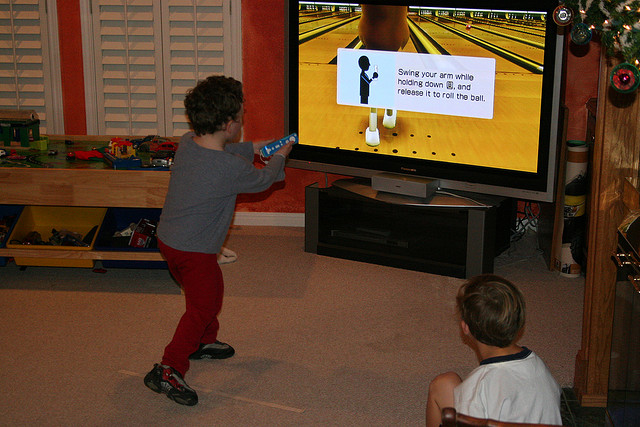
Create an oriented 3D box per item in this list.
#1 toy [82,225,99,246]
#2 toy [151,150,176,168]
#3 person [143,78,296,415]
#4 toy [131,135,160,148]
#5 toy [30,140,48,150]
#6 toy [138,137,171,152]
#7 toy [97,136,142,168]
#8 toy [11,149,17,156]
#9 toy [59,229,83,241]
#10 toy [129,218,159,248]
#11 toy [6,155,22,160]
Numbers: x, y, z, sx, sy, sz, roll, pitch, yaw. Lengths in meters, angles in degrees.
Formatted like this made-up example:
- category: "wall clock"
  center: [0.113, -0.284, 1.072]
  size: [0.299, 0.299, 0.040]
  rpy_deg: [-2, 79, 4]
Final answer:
- category: "toy"
  center: [-1.903, 0.187, 4.279]
  size: [0.057, 0.053, 0.204]
  rpy_deg: [29, 34, -6]
- category: "toy"
  center: [-1.190, -0.412, 3.927]
  size: [0.233, 0.107, 0.266]
  rpy_deg: [-1, 14, -2]
- category: "person"
  center: [-0.625, 0.175, 2.897]
  size: [0.433, 1.820, 0.710]
  rpy_deg: [11, 16, 40]
- category: "toy"
  center: [-1.510, -0.604, 4.455]
  size: [0.118, 0.052, 0.194]
  rpy_deg: [4, 23, 43]
- category: "toy"
  center: [-2.405, -0.588, 4.429]
  size: [0.126, 0.077, 0.091]
  rpy_deg: [5, 11, 16]
- category: "toy"
  center: [-1.399, -0.593, 4.403]
  size: [0.224, 0.067, 0.124]
  rpy_deg: [-15, 25, -32]
- category: "toy"
  center: [-1.551, -0.498, 4.030]
  size: [0.231, 0.132, 0.381]
  rpy_deg: [-7, 23, -28]
- category: "toy"
  center: [-2.541, -0.511, 4.288]
  size: [0.049, 0.021, 0.137]
  rpy_deg: [-4, 24, -18]
- category: "toy"
  center: [-2.028, 0.180, 4.212]
  size: [0.168, 0.071, 0.245]
  rpy_deg: [-4, 12, -24]
- category: "toy"
  center: [-1.429, 0.160, 4.177]
  size: [0.204, 0.197, 0.312]
  rpy_deg: [1, 11, 3]
- category: "toy"
  center: [-2.448, -0.450, 4.145]
  size: [0.113, 0.028, 0.109]
  rpy_deg: [-3, 12, -19]
